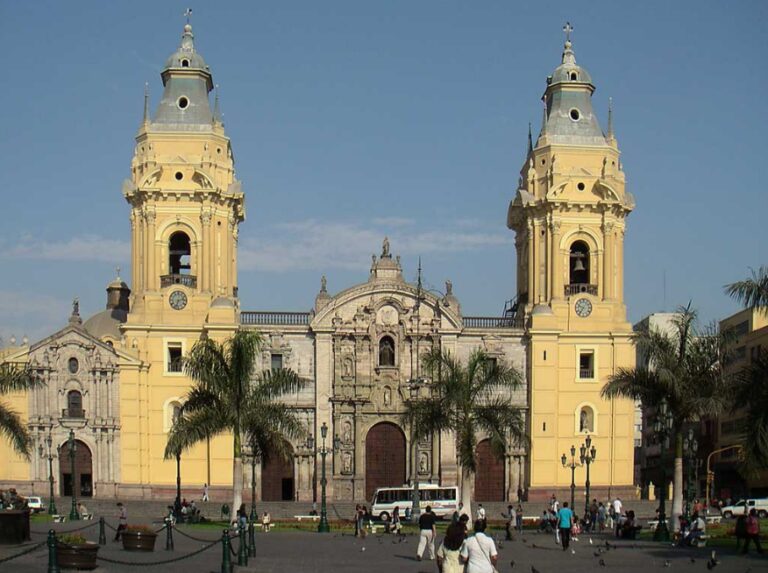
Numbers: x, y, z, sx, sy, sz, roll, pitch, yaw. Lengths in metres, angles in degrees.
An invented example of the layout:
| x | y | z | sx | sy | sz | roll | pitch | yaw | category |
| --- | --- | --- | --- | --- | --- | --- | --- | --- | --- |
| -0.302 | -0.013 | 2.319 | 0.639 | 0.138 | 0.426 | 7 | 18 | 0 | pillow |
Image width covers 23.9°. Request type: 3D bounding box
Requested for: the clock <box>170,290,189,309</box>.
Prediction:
| x | y | z | sx | sy | sz | roll | pitch | yaw | category |
| --- | --- | --- | --- | --- | --- | --- | --- | --- | --- |
| -13.046 | 0.894 | 115.053 | 1.111 | 1.327 | 0.081 | 3 | 0 | 5 | clock |

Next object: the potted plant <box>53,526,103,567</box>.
| x | y | z | sx | sy | sz | roll | pitch | yaw | category |
| --- | --- | --- | --- | --- | --- | --- | --- | --- | --- |
| -12.897 | 11.029 | 75.883 | 1.934 | 1.463 | 1.945 | 1 | -2 | -23 | potted plant |

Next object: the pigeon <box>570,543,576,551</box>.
| x | y | z | sx | sy | sz | roll | pitch | yaw | category |
| --- | --- | --- | --- | --- | --- | --- | --- | --- | --- |
| 8.880 | 12.304 | 85.053 | 0.167 | 0.346 | 0.151 | -15 | -56 | 11 | pigeon |

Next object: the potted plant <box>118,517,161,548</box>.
| x | y | z | sx | sy | sz | roll | pitch | yaw | category |
| --- | --- | --- | --- | --- | --- | --- | --- | --- | --- |
| -10.895 | 11.226 | 81.833 | 1.365 | 0.912 | 1.393 | 0 | -8 | 14 | potted plant |

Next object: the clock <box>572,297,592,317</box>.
| x | y | z | sx | sy | sz | roll | pitch | yaw | category |
| --- | --- | --- | --- | --- | --- | --- | --- | --- | --- |
| 12.791 | 1.391 | 116.631 | 1.137 | 1.305 | 0.115 | 5 | -3 | 5 | clock |

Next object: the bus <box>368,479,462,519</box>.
| x | y | z | sx | sy | sz | roll | pitch | yaw | category |
| --- | --- | --- | --- | --- | --- | --- | --- | --- | --- |
| 1.569 | 12.344 | 107.521 | 5.372 | 2.001 | 1.681 | 1 | 13 | -22 | bus |
